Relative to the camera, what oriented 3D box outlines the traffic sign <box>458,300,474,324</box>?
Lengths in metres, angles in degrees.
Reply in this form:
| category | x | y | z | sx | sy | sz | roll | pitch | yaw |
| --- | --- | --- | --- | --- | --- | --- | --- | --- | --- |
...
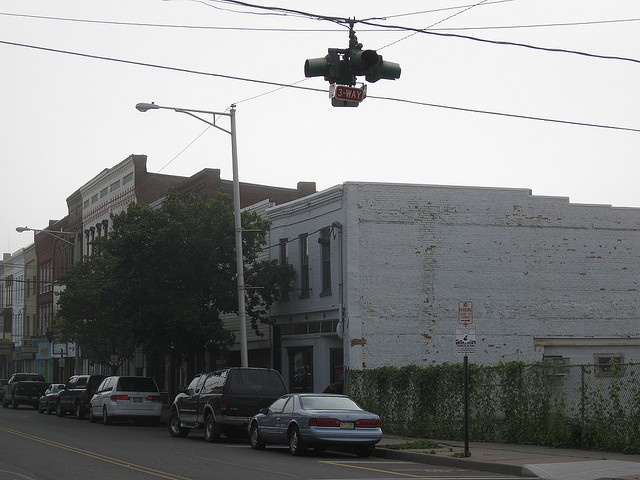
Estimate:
| category | x | y | z | sx | sy | sz | roll | pitch | yaw |
| --- | --- | --- | --- | --- | --- | --- | --- | --- | --- |
| traffic sign | 4.346 | 2.222 | 36.004 | 0.345 | 0.724 | 0.586 | -2 | -14 | 16 |

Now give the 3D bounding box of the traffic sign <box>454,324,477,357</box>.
| category | x | y | z | sx | sy | sz | roll | pitch | yaw |
| --- | --- | --- | --- | --- | --- | --- | --- | --- | --- |
| traffic sign | 4.337 | 3.046 | 35.961 | 0.563 | 0.922 | 0.645 | 1 | -13 | 1 |

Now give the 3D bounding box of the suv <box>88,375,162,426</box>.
| category | x | y | z | sx | sy | sz | roll | pitch | yaw |
| --- | --- | --- | --- | --- | --- | --- | --- | --- | --- |
| suv | -8.479 | 6.864 | 50.637 | 2.370 | 2.110 | 4.980 | 4 | -7 | -25 |

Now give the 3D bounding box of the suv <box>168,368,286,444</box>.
| category | x | y | z | sx | sy | sz | roll | pitch | yaw |
| --- | --- | --- | --- | --- | --- | --- | --- | --- | --- |
| suv | -3.631 | 5.994 | 42.850 | 2.779 | 2.443 | 6.057 | 4 | -8 | -26 |

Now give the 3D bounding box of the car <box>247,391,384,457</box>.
| category | x | y | z | sx | sy | sz | roll | pitch | yaw |
| --- | --- | --- | --- | --- | --- | --- | --- | --- | --- |
| car | -0.419 | 6.044 | 39.010 | 2.955 | 1.936 | 5.639 | 5 | -9 | -33 |

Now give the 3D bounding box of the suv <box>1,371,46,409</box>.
| category | x | y | z | sx | sy | sz | roll | pitch | yaw |
| --- | --- | --- | --- | --- | --- | --- | --- | --- | --- |
| suv | -16.778 | 8.406 | 65.963 | 1.870 | 1.983 | 3.863 | 5 | -9 | -35 |

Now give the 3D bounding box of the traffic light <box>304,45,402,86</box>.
| category | x | y | z | sx | sy | sz | roll | pitch | yaw |
| --- | --- | --- | --- | --- | --- | --- | --- | --- | --- |
| traffic light | 0.903 | -4.630 | 31.173 | 2.441 | 1.132 | 1.355 | 5 | 5 | 17 |
